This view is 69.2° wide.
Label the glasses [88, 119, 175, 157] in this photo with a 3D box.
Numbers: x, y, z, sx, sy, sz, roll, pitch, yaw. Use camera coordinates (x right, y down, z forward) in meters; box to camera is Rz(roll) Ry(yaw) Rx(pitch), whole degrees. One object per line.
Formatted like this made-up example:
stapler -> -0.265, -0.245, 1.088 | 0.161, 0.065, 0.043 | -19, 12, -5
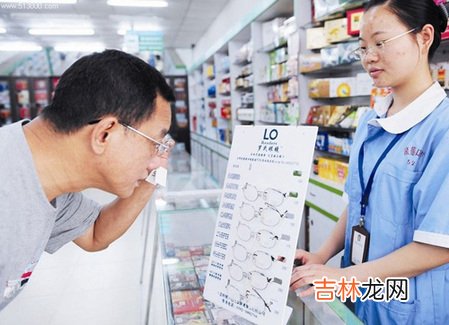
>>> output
glasses -> -0.356, -0.078, 1.362 | 0.181, 0.053, 0.173 | 35, -6, -1
